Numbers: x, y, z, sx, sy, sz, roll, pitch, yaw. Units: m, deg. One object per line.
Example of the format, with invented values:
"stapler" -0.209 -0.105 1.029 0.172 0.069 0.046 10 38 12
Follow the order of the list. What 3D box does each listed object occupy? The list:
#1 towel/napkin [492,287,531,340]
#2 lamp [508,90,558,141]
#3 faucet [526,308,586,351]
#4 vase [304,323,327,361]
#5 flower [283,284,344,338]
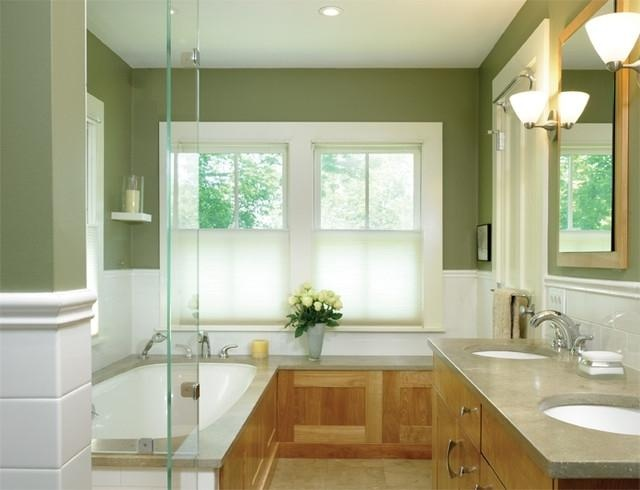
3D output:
"towel/napkin" 1.023 0.366 2.982 0.089 0.253 0.256 2 -9 5
"lamp" 1.015 -0.622 2.772 0.259 0.244 0.222 0 -1 1
"faucet" 0.989 0.355 2.383 0.213 0.169 0.202 1 -3 5
"vase" -0.027 0.649 3.809 0.123 0.253 0.099 -1 7 -1
"flower" -0.054 0.415 3.851 0.369 0.264 0.374 1 6 -1
